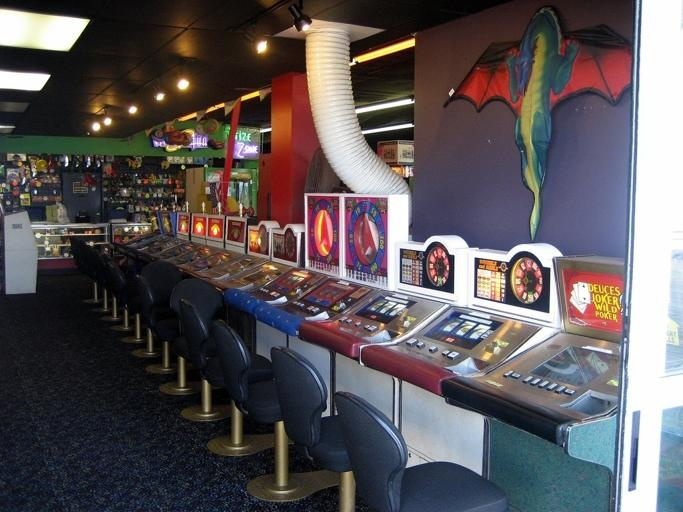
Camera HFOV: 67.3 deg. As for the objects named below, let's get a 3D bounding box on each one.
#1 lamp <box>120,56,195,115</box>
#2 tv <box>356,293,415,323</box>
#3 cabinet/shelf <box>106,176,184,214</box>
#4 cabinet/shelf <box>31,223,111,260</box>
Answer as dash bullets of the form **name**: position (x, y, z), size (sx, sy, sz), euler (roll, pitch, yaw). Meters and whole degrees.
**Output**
- **lamp**: position (-2.282, -2.234, 6.626), size (0.743, 0.193, 0.488), euler (-17, -26, 33)
- **tv**: position (0.299, 0.361, 3.525), size (0.183, 0.060, 0.259), euler (-28, 14, -32)
- **cabinet/shelf**: position (-5.395, -1.710, 14.123), size (2.075, 0.967, 0.274), euler (-3, 8, -26)
- **cabinet/shelf**: position (-5.996, -0.288, 11.364), size (1.462, 0.806, 0.503), euler (-2, -2, -23)
